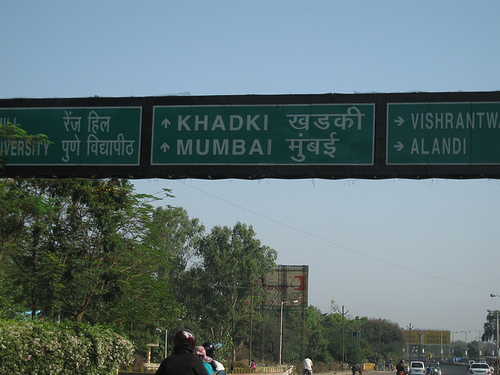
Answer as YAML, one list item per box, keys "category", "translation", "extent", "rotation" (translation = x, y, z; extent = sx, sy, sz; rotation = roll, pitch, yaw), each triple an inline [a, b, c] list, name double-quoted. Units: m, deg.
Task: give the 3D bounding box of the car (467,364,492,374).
- category: "car"
  translation: [16.810, 13.116, 70.730]
  extent: [1.382, 0.876, 1.987]
  rotation: [1, -16, 12]
